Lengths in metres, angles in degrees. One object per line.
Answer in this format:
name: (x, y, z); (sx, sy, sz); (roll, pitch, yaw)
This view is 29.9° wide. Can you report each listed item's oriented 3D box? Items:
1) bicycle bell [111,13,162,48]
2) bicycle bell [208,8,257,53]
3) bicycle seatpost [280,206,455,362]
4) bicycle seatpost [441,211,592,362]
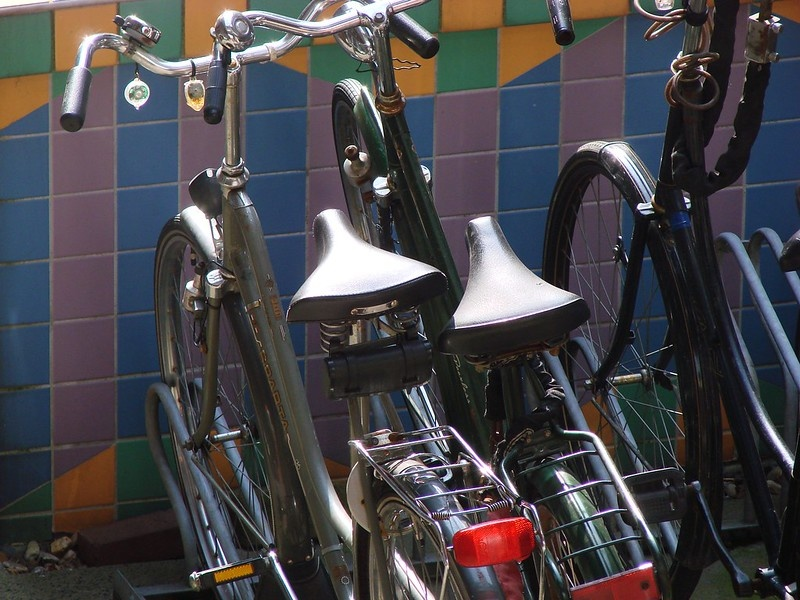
bicycle bell: (-0.753, -0.776, 4.289); (0.112, 0.060, 0.100); (28, 9, -12)
bicycle bell: (-0.466, -0.754, 4.270); (0.117, 0.127, 0.094); (-27, -1, -44)
bicycle seatpost: (-0.148, -0.098, 4.217); (0.425, 0.130, 0.508); (-12, 33, -20)
bicycle seatpost: (0.309, -0.045, 4.239); (0.364, 0.183, 0.672); (-13, 29, 9)
